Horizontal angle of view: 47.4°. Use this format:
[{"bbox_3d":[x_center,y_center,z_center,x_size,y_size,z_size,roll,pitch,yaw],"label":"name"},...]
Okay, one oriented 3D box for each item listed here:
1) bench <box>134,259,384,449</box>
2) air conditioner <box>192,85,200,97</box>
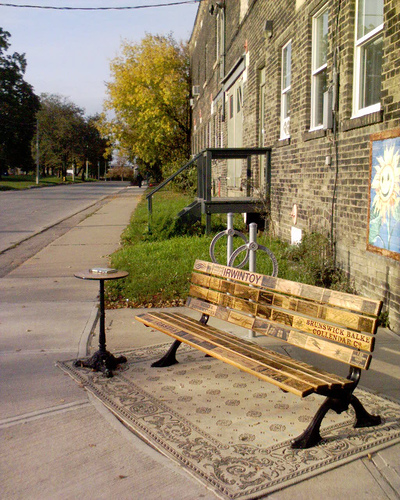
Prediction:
[{"bbox_3d":[0.318,0.668,3.402,0.736,0.678,2.011,-8,9,-31],"label":"bench"},{"bbox_3d":[-0.239,-10.182,28.945,0.422,0.651,1.045,0,6,-3],"label":"air conditioner"}]
